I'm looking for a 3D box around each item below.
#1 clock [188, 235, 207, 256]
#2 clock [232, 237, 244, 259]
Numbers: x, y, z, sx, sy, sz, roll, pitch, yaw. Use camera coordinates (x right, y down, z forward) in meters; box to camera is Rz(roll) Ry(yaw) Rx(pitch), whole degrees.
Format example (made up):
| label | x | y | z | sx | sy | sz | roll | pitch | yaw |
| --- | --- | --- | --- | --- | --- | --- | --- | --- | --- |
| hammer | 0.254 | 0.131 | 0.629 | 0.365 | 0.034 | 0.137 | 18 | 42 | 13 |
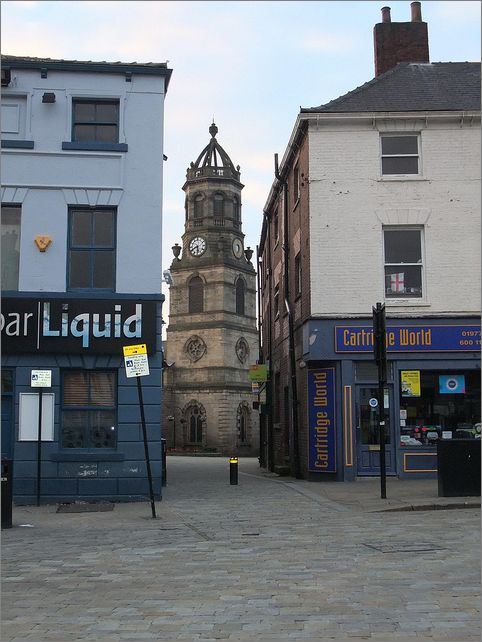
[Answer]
| label | x | y | z | sx | sy | sz | roll | pitch | yaw |
| --- | --- | --- | --- | --- | --- | --- | --- | --- | --- |
| clock | -3.595 | -6.239 | 70.246 | 1.759 | 2.017 | 0.260 | -3 | -10 | 37 |
| clock | -0.278 | -6.167 | 71.806 | 0.251 | 1.781 | 2.340 | -5 | -9 | 17 |
